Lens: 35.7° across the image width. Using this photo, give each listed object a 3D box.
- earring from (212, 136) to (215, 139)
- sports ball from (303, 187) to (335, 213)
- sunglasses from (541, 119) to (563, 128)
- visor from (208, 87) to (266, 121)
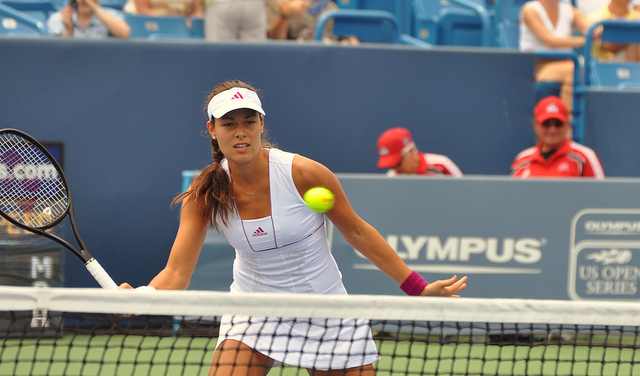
[{"bbox_3d":[-0.976,-0.475,9.060,0.014,0.017,0.005,2,-25,0],"label":"earring"},{"bbox_3d":[-0.002,0.081,8.916,0.237,0.208,0.219,-1,34,1],"label":"sports ball"},{"bbox_3d":[2.582,-0.725,11.075,0.144,0.091,0.227,-1,-11,8],"label":"sunglasses"},{"bbox_3d":[-0.768,-0.777,8.886,0.482,0.263,0.194,-4,5,-8],"label":"visor"}]
